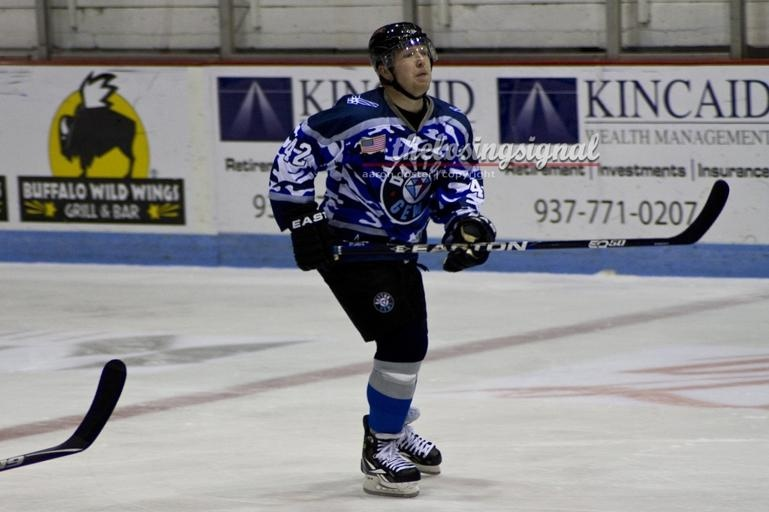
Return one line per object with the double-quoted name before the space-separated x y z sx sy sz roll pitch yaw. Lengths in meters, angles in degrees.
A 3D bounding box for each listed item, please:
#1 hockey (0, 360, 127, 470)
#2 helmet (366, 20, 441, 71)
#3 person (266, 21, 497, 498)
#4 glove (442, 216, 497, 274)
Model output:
"hockey" -1.659 0.812 7.818 0.645 0.587 0.238 2 4 2
"helmet" 0.076 -1.181 8.431 0.342 0.264 0.262 -11 -1 29
"person" -0.013 0.000 8.380 1.245 2.599 0.432 2 4 2
"glove" 0.472 -0.084 8.432 0.279 0.316 0.180 25 10 8
